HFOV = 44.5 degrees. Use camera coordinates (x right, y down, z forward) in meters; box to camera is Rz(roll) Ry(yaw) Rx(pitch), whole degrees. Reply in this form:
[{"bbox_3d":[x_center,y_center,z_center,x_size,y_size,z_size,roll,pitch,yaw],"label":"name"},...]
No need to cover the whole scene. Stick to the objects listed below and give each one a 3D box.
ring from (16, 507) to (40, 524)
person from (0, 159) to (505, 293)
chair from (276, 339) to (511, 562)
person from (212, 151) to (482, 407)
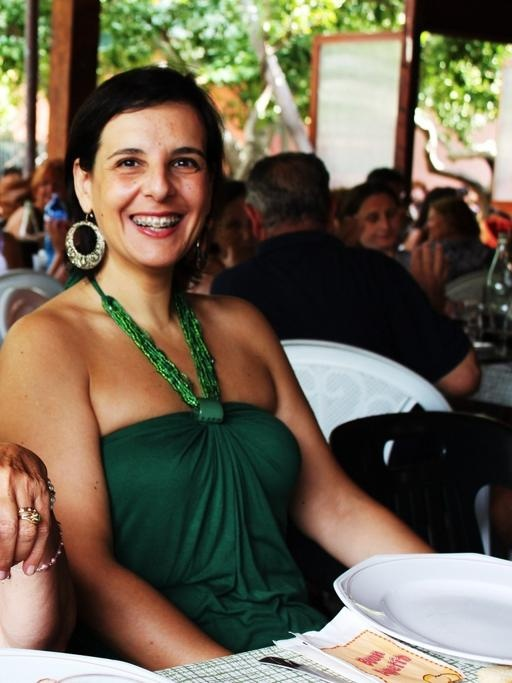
[{"bbox_3d":[-0.200,0.153,0.551,0.018,0.008,0.014,7,15,-17],"label":"ring"},{"bbox_3d":[0.084,-0.380,2.082,1.250,0.250,1.150,3,13,17],"label":"person"},{"bbox_3d":[0.347,0.193,2.041,0.625,0.747,0.632,-25,22,-32],"label":"chair"},{"bbox_3d":[0.157,-0.207,2.310,1.274,0.879,0.693,-5,3,-13],"label":"person"}]
